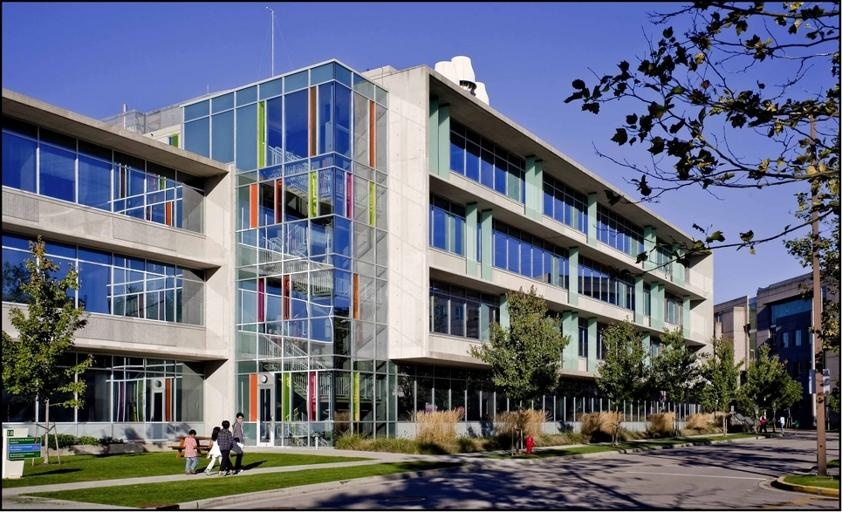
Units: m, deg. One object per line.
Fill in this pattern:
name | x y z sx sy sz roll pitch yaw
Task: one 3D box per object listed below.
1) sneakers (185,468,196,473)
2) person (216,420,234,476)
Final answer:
sneakers | -10.417 9.735 42.191 0.555 0.214 0.171 4 -11 11
person | -8.762 8.583 42.166 0.749 2.533 1.567 2 -20 -12
